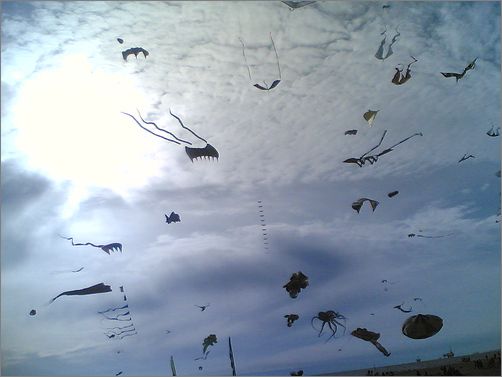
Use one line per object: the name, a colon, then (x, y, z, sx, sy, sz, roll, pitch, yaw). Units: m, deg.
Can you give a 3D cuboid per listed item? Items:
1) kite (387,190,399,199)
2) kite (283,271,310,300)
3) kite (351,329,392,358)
kite: (8.934, 0.326, 27.896, 0.725, 0.407, 0.212, -30, -12, 11)
kite: (4.300, 8.999, 41.262, 1.981, 2.378, 2.299, -10, -31, 1)
kite: (10.396, 12.847, 37.862, 4.040, 1.293, 0.877, 3, -18, 45)
